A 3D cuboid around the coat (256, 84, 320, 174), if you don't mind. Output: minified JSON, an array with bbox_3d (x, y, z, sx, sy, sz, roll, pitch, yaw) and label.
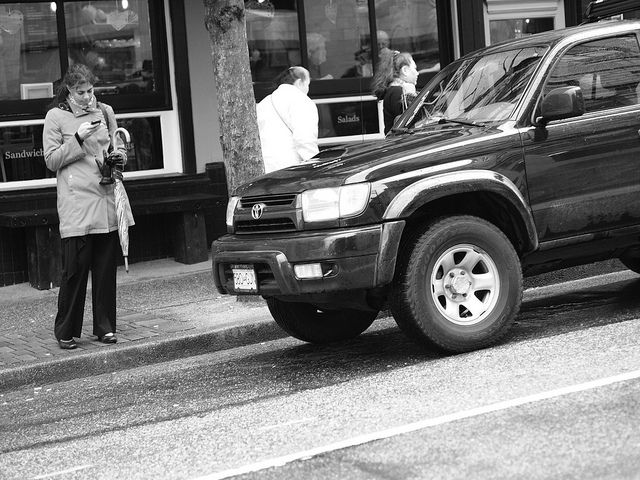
[{"bbox_3d":[-0.336,-1.202,8.550,0.480,0.822,0.904,0,0,-40],"label":"coat"}]

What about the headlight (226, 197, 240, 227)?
[{"bbox_3d":[-0.704,-0.255,6.263,0.118,0.230,0.400,-8,9,-8],"label":"headlight"}]

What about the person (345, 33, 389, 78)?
[{"bbox_3d":[0.807,-3.067,12.437,0.734,0.719,0.180,-12,8,-39],"label":"person"}]

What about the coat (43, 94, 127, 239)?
[{"bbox_3d":[-2.174,-0.724,7.077,0.663,1.322,0.383,-9,8,-20],"label":"coat"}]

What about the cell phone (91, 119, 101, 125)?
[{"bbox_3d":[-2.051,-1.111,7.015,0.086,0.045,0.187,-9,9,-14],"label":"cell phone"}]

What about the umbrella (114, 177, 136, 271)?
[{"bbox_3d":[-1.850,-0.246,7.205,0.233,1.014,0.237,-1,-37,-21],"label":"umbrella"}]

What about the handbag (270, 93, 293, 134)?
[{"bbox_3d":[-0.391,-1.403,8.356,0.083,0.338,0.343,-23,3,8],"label":"handbag"}]

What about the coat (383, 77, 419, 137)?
[{"bbox_3d":[0.890,-1.633,8.825,0.279,0.556,0.298,-5,8,7],"label":"coat"}]

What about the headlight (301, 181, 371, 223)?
[{"bbox_3d":[0.129,-0.243,5.507,0.374,0.171,0.296,-9,-6,17],"label":"headlight"}]
